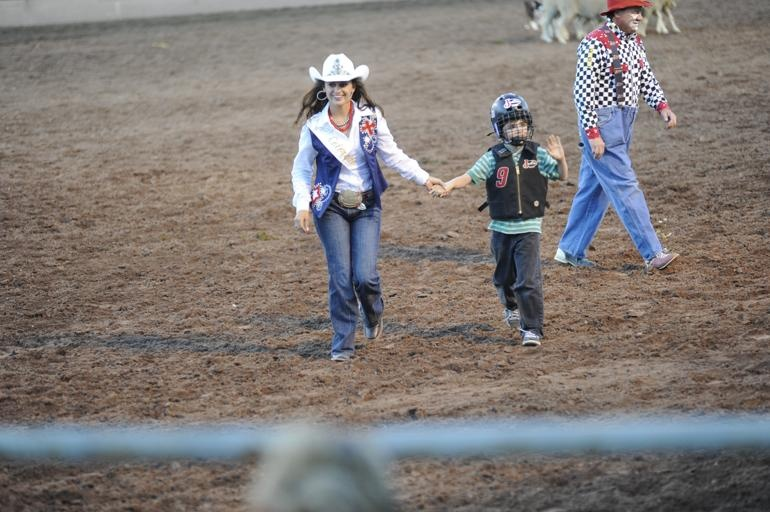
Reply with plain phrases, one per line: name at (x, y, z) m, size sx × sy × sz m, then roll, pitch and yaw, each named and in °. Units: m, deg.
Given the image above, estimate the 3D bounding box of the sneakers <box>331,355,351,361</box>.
sneakers at (-0.507, 1.196, 13.797) m, size 0.170 × 0.059 × 0.085 m, roll 1°, pitch 7°, yaw 7°

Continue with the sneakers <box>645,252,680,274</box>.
sneakers at (3.476, 0.072, 14.943) m, size 0.494 × 0.215 × 0.166 m, roll -26°, pitch 20°, yaw 35°

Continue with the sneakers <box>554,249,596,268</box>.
sneakers at (2.461, 0.031, 15.460) m, size 0.643 × 0.231 × 0.187 m, roll 4°, pitch 27°, yaw 4°

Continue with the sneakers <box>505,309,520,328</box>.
sneakers at (1.533, 0.763, 14.153) m, size 0.151 × 0.107 × 0.234 m, roll -5°, pitch 57°, yaw -9°

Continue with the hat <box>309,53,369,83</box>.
hat at (-0.523, -2.102, 13.669) m, size 0.550 × 0.184 × 0.504 m, roll -2°, pitch -1°, yaw -1°
